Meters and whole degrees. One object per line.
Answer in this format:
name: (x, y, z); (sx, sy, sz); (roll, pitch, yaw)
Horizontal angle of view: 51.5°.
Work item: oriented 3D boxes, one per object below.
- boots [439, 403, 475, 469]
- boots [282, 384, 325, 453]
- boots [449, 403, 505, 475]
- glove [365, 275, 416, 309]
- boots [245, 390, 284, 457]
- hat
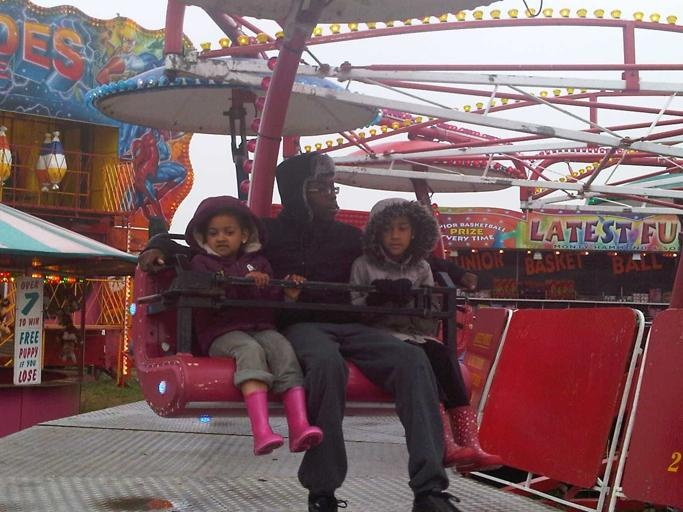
boots: (0.759, 1.061, 4.254); (0.137, 0.260, 0.382); (3, 0, -12)
boots: (-0.226, 0.922, 4.043); (0.173, 0.350, 0.380); (-5, -16, -18)
boots: (0.771, 1.103, 4.345); (0.184, 0.318, 0.486); (-3, -9, 4)
glove: (0.317, 0.235, 4.545); (0.233, 0.096, 0.221); (1, -17, -3)
boots: (-0.442, 0.968, 4.061); (0.193, 0.399, 0.329); (-1, 1, -8)
hat: (-0.261, -0.558, 5.439); (0.526, 0.491, 0.404); (6, 10, 34)
